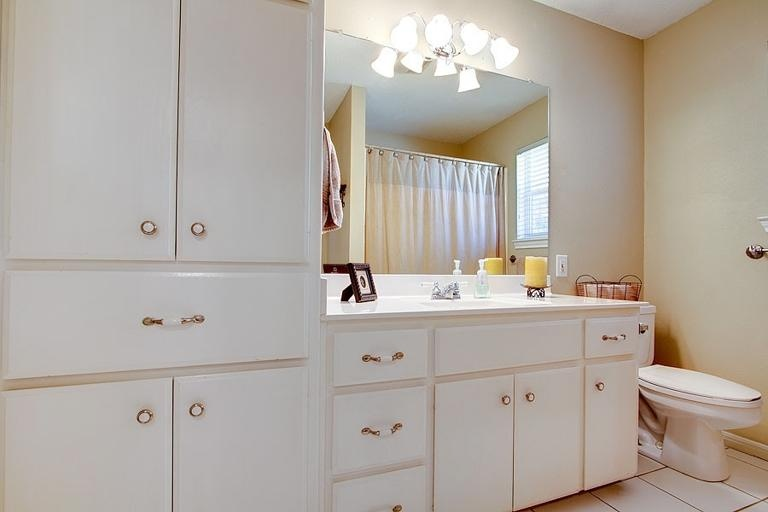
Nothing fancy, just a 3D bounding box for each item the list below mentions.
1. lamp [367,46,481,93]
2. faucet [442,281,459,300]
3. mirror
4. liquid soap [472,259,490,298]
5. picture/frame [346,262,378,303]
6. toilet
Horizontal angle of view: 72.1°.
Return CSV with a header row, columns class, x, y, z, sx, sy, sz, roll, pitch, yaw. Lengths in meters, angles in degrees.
class,x,y,z,sx,sy,sz,roll,pitch,yaw
lamp,0.257,-0.964,2.974,0.706,0.232,0.179,4,34,-23
faucet,0.373,0.192,2.940,0.099,0.105,0.066,1,-1,0
mirror,0.251,-0.589,2.965,1.435,1.480,0.021,1,1,-19
liquid soap,0.561,0.122,3.020,0.072,0.208,0.169,0,2,12
picture/frame,-0.118,0.134,2.623,0.090,0.196,0.179,-17,-9,27
toilet,1.734,0.754,2.958,0.618,0.897,0.391,2,3,42
